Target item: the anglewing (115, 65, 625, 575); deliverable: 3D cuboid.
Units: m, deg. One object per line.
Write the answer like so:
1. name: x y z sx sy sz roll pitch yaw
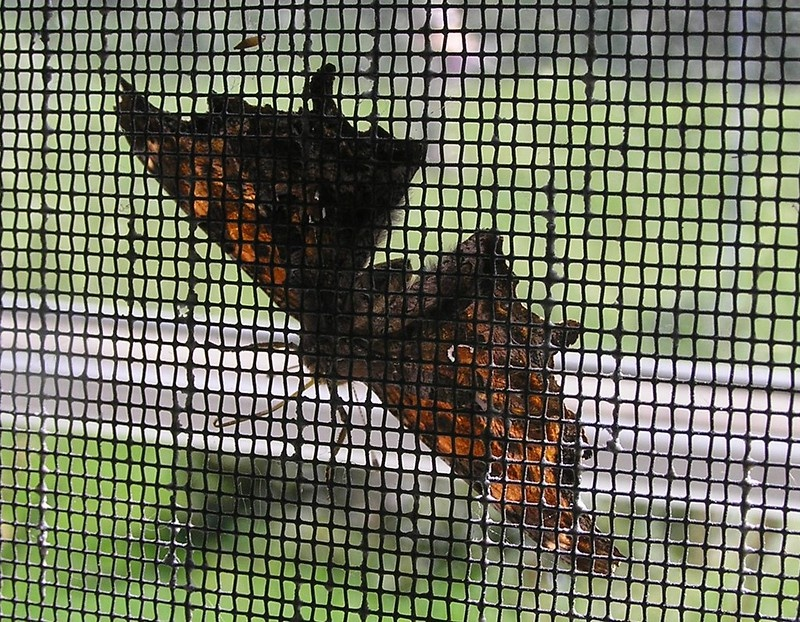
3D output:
1. anglewing: -0.033 -0.023 2.558 0.607 0.266 1.500 -39 85 -4
